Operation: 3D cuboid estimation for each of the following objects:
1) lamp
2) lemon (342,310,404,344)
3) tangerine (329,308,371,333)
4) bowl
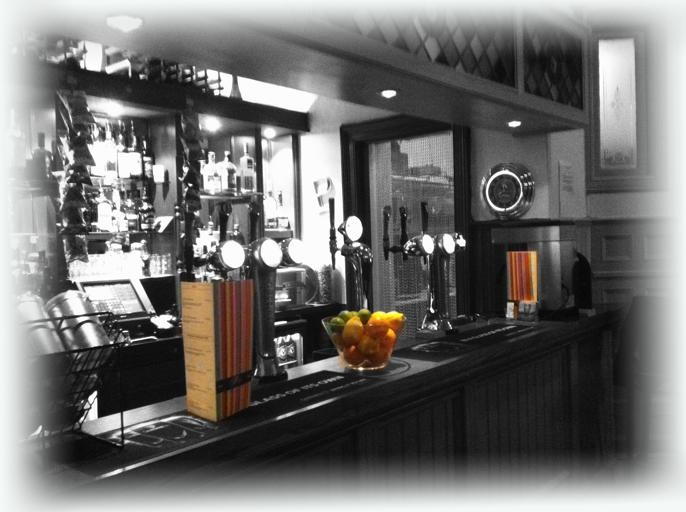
[{"bbox_3d":[0.258,0.082,2.851,0.659,0.687,1.634,5,9,17],"label":"lamp"},{"bbox_3d":[0.119,0.300,2.284,0.193,0.112,0.206,-4,-8,3],"label":"lemon"},{"bbox_3d":[0.018,0.264,2.306,0.190,0.078,0.076,-18,7,-37],"label":"tangerine"},{"bbox_3d":[0.082,0.341,2.283,0.275,0.189,0.279,-1,-9,0],"label":"bowl"}]
